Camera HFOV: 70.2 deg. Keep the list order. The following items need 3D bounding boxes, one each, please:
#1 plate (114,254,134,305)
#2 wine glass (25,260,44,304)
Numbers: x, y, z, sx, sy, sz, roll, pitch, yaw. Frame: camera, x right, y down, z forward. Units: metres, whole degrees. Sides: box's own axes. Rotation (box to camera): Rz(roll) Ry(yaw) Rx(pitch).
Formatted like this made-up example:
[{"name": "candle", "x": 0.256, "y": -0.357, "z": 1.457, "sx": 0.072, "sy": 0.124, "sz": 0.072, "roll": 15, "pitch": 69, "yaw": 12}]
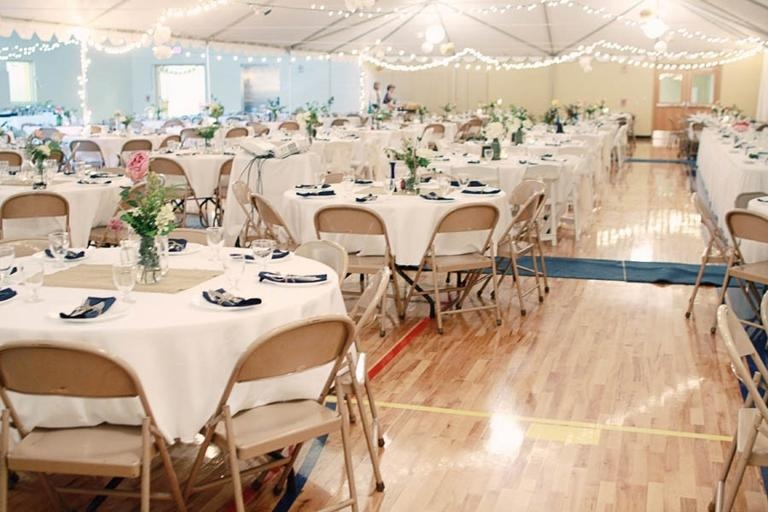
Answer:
[{"name": "plate", "x": -1.177, "y": 0.083, "z": 2.491, "sx": 0.092, "sy": 0.229, "sz": 0.246, "roll": -10, "pitch": 16, "yaw": -25}, {"name": "wine glass", "x": -1.596, "y": 0.105, "z": 2.500, "sx": 0.091, "sy": 0.173, "sz": 0.262, "roll": -12, "pitch": 17, "yaw": -32}]
